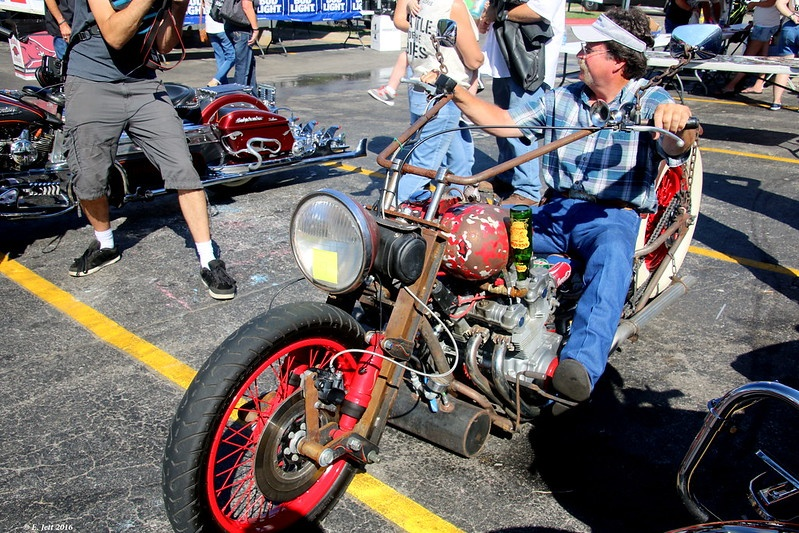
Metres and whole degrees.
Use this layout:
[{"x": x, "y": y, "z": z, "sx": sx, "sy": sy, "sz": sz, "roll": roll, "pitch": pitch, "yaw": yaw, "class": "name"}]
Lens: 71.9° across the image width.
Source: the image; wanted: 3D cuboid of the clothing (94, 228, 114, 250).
[{"x": -2.635, "y": -0.235, "z": 4.920, "sx": 0.149, "sy": 0.119, "sz": 0.180, "roll": 25, "pitch": 16, "yaw": -38, "class": "clothing"}]

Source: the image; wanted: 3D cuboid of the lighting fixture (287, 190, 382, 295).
[{"x": -0.221, "y": -0.113, "z": 2.620, "sx": 0.319, "sy": 0.476, "sz": 0.550, "roll": -14, "pitch": 23, "yaw": -43, "class": "lighting fixture"}]

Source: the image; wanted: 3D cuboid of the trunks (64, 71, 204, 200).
[{"x": -2.338, "y": -1.149, "z": 4.708, "sx": 1.027, "sy": 1.091, "sz": 0.446, "roll": -16, "pitch": 25, "yaw": -37, "class": "trunks"}]

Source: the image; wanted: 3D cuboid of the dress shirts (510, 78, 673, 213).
[{"x": 0.763, "y": -0.767, "z": 3.504, "sx": 1.489, "sy": 0.720, "sz": 0.621, "roll": -3, "pitch": 16, "yaw": -11, "class": "dress shirts"}]

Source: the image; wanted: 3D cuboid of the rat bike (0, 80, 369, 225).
[{"x": -2.555, "y": -1.283, "z": 6.311, "sx": 3.467, "sy": 1.660, "sz": 1.634, "roll": -13, "pitch": 21, "yaw": -33, "class": "rat bike"}]
